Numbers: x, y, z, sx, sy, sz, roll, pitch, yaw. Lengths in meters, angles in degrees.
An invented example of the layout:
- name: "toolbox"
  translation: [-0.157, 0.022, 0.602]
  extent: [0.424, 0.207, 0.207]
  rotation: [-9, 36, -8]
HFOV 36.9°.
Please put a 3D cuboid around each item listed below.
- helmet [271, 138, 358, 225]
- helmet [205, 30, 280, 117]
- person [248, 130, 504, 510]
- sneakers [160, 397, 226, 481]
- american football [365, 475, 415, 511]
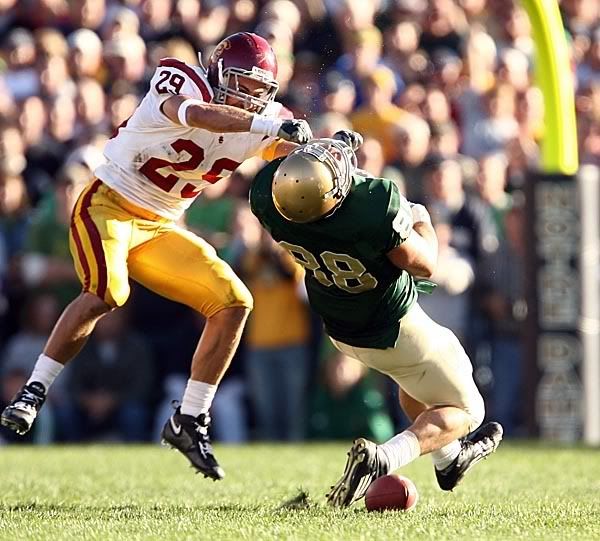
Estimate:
- name: "helmet"
  translation: [0.059, -0.300, 2.847]
  extent: [0.247, 0.205, 0.306]
  rotation: [22, 36, 37]
- name: "helmet"
  translation: [-0.209, -0.759, 3.360]
  extent: [0.274, 0.314, 0.220]
  rotation: [5, 7, -11]
- name: "person"
  translation: [0.232, 0.175, 3.022]
  extent: [0.841, 1.207, 0.403]
  rotation: [2, 9, -33]
- name: "sneakers"
  translation: [-0.404, 0.663, 3.383]
  extent: [0.230, 0.300, 0.269]
  rotation: [5, 7, -8]
- name: "american football"
  translation: [0.284, 0.740, 3.011]
  extent: [0.167, 0.099, 0.114]
  rotation: [-5, 2, -10]
